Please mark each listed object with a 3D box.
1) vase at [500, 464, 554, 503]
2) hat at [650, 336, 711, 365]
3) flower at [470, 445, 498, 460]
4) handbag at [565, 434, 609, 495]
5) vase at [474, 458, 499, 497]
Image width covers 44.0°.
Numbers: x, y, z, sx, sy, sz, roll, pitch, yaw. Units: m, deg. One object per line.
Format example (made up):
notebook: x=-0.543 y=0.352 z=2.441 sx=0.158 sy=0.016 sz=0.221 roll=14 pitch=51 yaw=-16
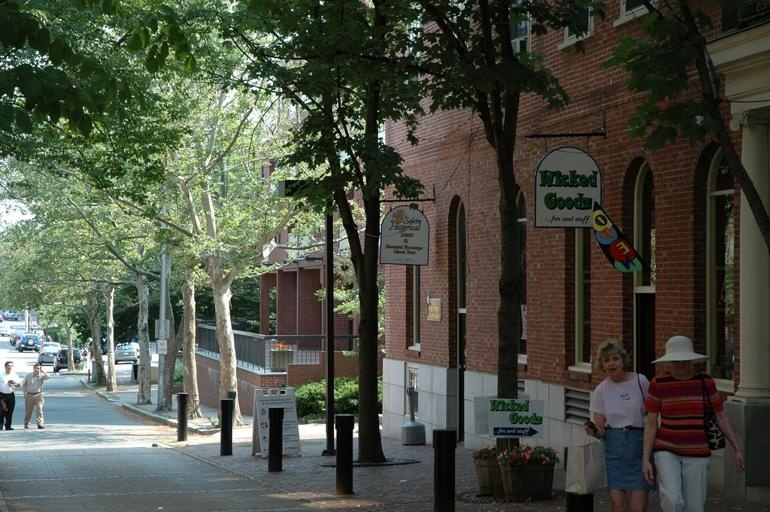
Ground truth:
vase: x=2.347 y=3.721 z=15.592 sx=0.697 sy=0.425 sz=0.604 roll=2 pitch=-11 yaw=-9
hat: x=3.747 y=1.216 z=12.245 sx=0.594 sy=0.275 sz=0.596 roll=-1 pitch=-8 yaw=1
flower: x=1.719 y=3.372 z=16.336 sx=0.410 sy=0.227 sz=0.342 roll=-1 pitch=-13 yaw=5
handbag: x=2.608 y=2.713 z=12.247 sx=0.558 sy=0.690 sz=0.232 roll=6 pitch=-13 yaw=-24
vase: x=1.737 y=3.771 z=16.227 sx=0.543 sy=0.538 sz=0.520 roll=1 pitch=-3 yaw=27
